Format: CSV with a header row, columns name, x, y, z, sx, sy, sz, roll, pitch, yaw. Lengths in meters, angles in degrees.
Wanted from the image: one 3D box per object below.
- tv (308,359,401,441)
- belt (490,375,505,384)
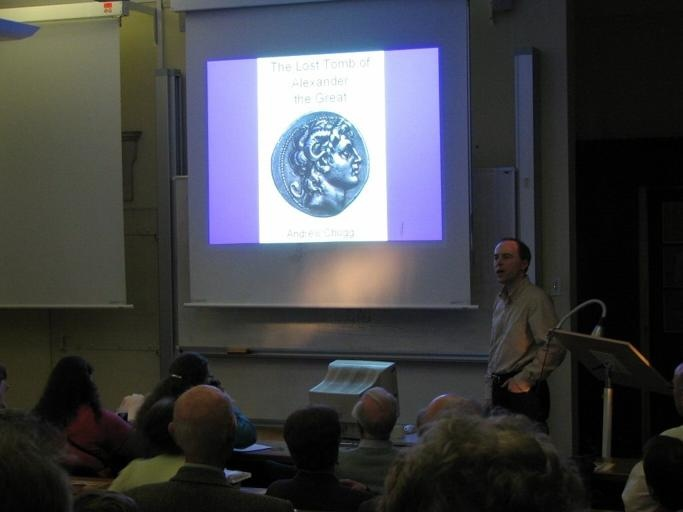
name,x,y,z,sx,sy,sz,roll,pitch,yaw
tv,0.032,0.791,3.858,0.442,0.370,0.463,2,-5,-18
belt,0.987,0.786,4.496,0.057,0.036,0.084,-1,0,12
